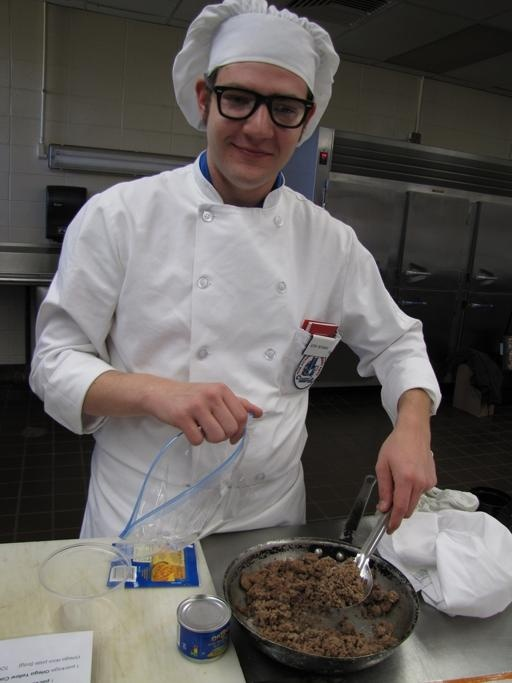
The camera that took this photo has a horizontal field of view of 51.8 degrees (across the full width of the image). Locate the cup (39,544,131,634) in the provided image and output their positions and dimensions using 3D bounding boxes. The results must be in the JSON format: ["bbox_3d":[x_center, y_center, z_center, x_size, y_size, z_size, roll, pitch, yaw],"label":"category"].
[{"bbox_3d":[-0.248,0.353,0.760,0.126,0.055,0.141,5,9,-14],"label":"cup"}]

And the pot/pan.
[{"bbox_3d":[0.097,0.348,0.779,0.277,0.130,0.307,13,10,28],"label":"pot/pan"}]
